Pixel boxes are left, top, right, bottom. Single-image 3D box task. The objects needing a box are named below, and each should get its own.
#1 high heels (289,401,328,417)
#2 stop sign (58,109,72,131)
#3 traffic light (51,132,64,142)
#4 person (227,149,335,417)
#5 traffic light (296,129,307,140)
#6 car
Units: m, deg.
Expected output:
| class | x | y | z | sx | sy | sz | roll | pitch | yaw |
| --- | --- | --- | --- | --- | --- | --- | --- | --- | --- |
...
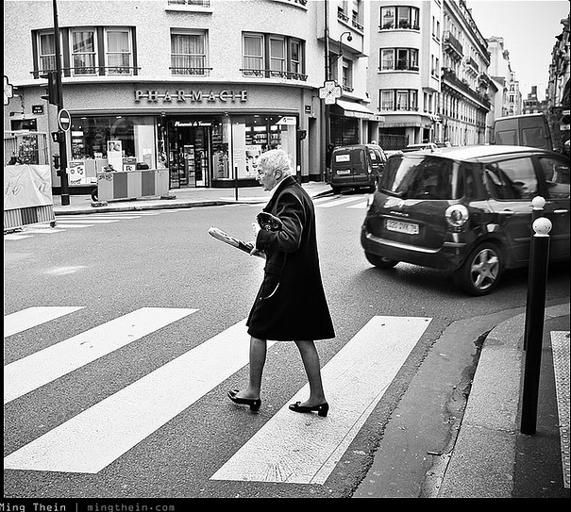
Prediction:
| class | x | y | z | sx | sy | sz | roll | pitch | yaw |
| --- | --- | --- | --- | --- | --- | --- | --- | --- | --- |
| high heels | 0.165 | 1.101 | 3.935 | 0.266 | 0.126 | 0.105 | 10 | 6 | 11 |
| stop sign | -8.330 | -5.090 | 20.174 | 0.427 | 0.855 | 0.877 | -4 | 11 | -25 |
| traffic light | -8.409 | -4.410 | 19.917 | 0.691 | 0.425 | 0.319 | 10 | 14 | 43 |
| person | -0.001 | 0.199 | 3.881 | 0.688 | 1.892 | 0.393 | 1 | 9 | 4 |
| traffic light | 0.850 | -6.735 | 29.751 | 0.583 | 0.758 | 0.633 | -1 | 6 | 1 |
| car | 2.831 | -0.861 | 7.899 | 2.730 | 1.536 | 1.786 | -17 | 18 | -31 |
